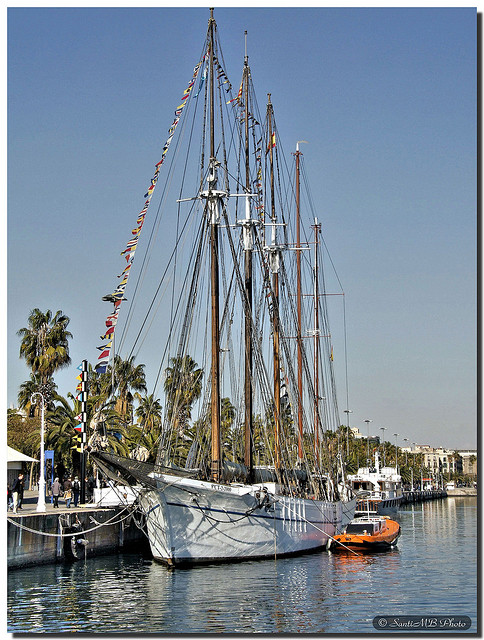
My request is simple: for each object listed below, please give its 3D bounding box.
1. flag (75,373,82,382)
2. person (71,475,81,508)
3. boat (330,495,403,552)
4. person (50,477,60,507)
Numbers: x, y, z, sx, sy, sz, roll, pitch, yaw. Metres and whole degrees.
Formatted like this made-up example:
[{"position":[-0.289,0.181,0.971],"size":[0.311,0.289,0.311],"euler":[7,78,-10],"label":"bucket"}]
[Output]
[{"position":[-7.979,2.630,41.923],"size":[0.218,0.396,0.876],"euler":[3,-9,-10],"label":"flag"},{"position":[-8.803,8.997,45.298],"size":[0.443,1.285,3.557],"euler":[3,-9,-11],"label":"person"},{"position":[7.226,11.567,48.456],"size":[2.134,3.411,7.442],"euler":[-3,-13,12],"label":"boat"},{"position":[-9.089,8.258,41.617],"size":[0.332,1.149,1.506],"euler":[3,-8,-12],"label":"person"}]
